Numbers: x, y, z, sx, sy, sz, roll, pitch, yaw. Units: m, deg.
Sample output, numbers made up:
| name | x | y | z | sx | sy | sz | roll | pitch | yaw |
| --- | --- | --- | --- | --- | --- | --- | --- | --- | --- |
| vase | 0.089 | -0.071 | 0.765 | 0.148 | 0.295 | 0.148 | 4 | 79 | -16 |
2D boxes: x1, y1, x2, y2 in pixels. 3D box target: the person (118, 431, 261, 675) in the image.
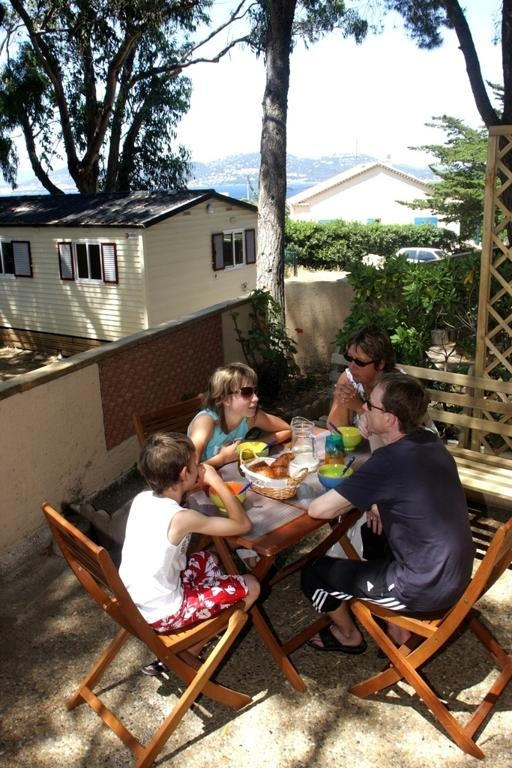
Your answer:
| name | x | y | z | sx | sy | sz | roll | pitch | yaw |
| --- | --- | --- | --- | --- | --- | --- | --- | --- | --- |
| person | -0.272 | 0.579 | 2.050 | 0.515 | 0.821 | 0.367 | -18 | 22 | -39 |

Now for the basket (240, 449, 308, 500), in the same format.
| name | x | y | z | sx | sy | sz | roll | pitch | yaw |
| --- | --- | --- | --- | --- | --- | --- | --- | --- | --- |
| basket | 0.091 | 0.400 | 2.454 | 0.269 | 0.109 | 0.193 | 11 | 18 | 43 |

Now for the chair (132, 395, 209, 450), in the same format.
| name | x | y | z | sx | sy | sz | roll | pitch | yaw |
| --- | --- | --- | --- | --- | --- | --- | --- | --- | --- |
| chair | -0.525 | 0.226 | 3.445 | 0.480 | 0.307 | 0.180 | -13 | 40 | -27 |

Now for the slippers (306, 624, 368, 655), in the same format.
| name | x | y | z | sx | sy | sz | roll | pitch | yaw |
| --- | --- | --- | --- | --- | --- | --- | --- | --- | --- |
| slippers | 0.404 | 1.221 | 2.586 | 0.225 | 0.077 | 0.122 | 5 | 13 | 10 |

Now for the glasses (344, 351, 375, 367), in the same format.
| name | x | y | z | sx | sy | sz | roll | pitch | yaw |
| --- | --- | --- | --- | --- | --- | --- | --- | --- | --- |
| glasses | 0.589 | -0.132 | 3.150 | 0.101 | 0.030 | 0.096 | 4 | 14 | -40 |

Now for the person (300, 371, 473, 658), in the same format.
| name | x | y | z | sx | sy | sz | roll | pitch | yaw |
| --- | --- | --- | --- | --- | --- | --- | --- | --- | --- |
| person | 0.488 | 0.508 | 2.054 | 0.627 | 1.036 | 0.372 | 5 | 19 | 27 |

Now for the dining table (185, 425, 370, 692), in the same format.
| name | x | y | z | sx | sy | sz | roll | pitch | yaw |
| --- | --- | --- | --- | --- | --- | --- | --- | --- | --- |
| dining table | 0.057 | 0.758 | 2.584 | 0.775 | 0.884 | 1.028 | 3 | 12 | 39 |
